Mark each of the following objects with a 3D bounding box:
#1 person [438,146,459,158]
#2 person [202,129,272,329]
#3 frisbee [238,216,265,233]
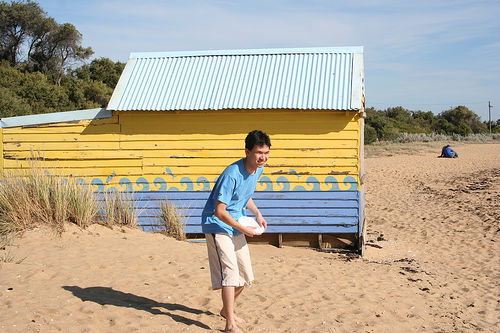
[{"bbox_3d":[11.233,-0.832,27.601,0.474,0.608,0.854,-3,5,-17],"label":"person"},{"bbox_3d":[-0.237,1.031,7.917,1.053,3.171,0.493,-2,5,-7],"label":"person"},{"bbox_3d":[0.021,0.923,7.896,0.415,0.242,0.397,-2,4,-2],"label":"frisbee"}]
